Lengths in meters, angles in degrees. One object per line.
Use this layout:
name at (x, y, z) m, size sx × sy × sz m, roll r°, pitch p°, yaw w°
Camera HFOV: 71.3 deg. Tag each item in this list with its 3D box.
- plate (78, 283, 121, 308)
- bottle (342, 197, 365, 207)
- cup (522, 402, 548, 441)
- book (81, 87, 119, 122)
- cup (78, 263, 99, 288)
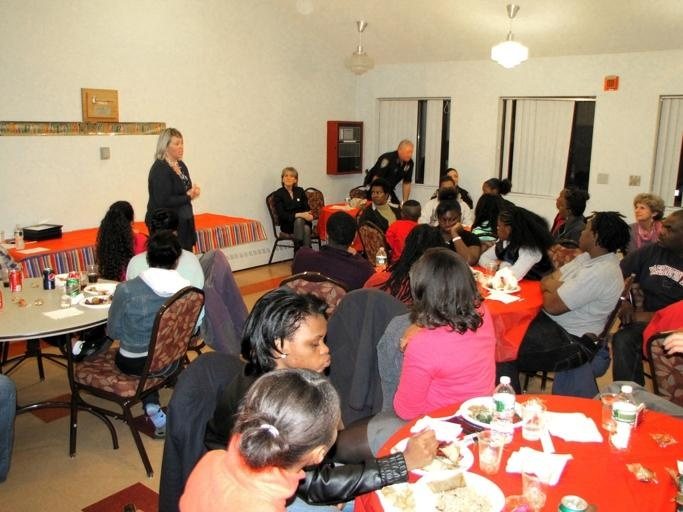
plate at (-1.724, 0.275, 3.389) m, size 0.243 × 0.059 × 0.342 m, roll 2°, pitch 18°, yaw -2°
bottle at (0.195, -0.841, 7.381) m, size 0.382 × 0.178 × 0.480 m, roll 0°, pitch 4°, yaw 3°
cup at (0.775, 0.667, 1.942) m, size 0.105 × 0.172 × 0.112 m, roll -2°, pitch 10°, yaw 0°
book at (-2.754, -1.735, 5.400) m, size 0.051 × 0.348 × 0.403 m, roll 10°, pitch 15°, yaw 37°
cup at (-1.964, 0.157, 3.709) m, size 0.170 × 0.197 × 0.185 m, roll 1°, pitch 1°, yaw 0°
